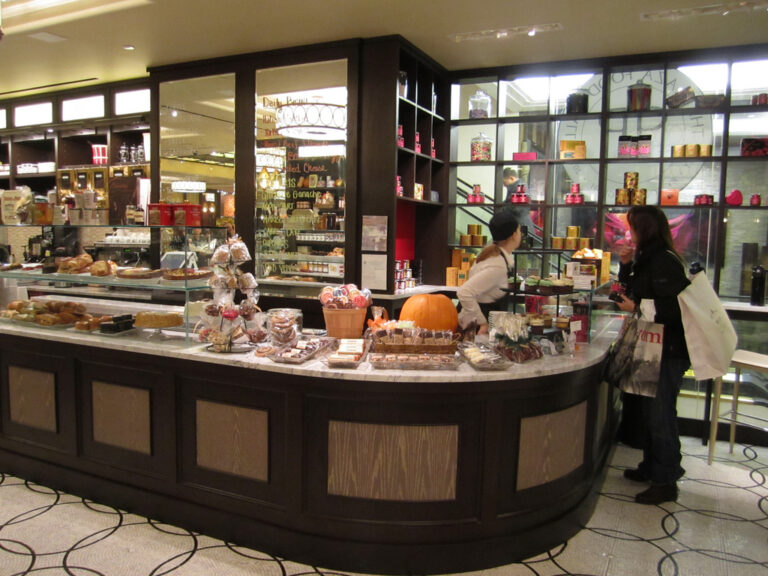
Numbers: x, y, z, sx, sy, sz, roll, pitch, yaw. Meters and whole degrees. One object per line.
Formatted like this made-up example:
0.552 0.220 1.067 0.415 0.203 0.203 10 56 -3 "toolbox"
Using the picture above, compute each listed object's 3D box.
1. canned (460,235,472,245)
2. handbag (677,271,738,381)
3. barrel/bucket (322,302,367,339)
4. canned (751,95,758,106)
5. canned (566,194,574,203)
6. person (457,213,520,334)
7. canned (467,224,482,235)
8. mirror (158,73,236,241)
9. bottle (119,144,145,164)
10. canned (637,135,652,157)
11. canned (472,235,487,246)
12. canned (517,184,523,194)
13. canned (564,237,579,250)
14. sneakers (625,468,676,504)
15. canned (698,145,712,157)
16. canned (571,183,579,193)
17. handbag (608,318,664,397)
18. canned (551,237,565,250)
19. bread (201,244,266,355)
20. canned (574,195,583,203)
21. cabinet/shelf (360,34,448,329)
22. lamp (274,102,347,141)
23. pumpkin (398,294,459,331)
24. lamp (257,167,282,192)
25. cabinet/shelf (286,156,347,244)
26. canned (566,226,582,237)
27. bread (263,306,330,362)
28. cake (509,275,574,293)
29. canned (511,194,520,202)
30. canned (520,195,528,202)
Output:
1.017 -0.608 7.636 0.125 0.122 0.120 7 11 32 "canned"
2.431 0.279 4.592 0.362 0.770 0.387 10 14 38 "handbag"
-0.300 0.239 4.482 0.260 0.167 0.251 1 2 0 "barrel/bucket"
3.801 -1.920 6.233 0.075 0.096 0.080 7 12 27 "canned"
2.130 -1.026 7.010 0.097 0.090 0.097 1 8 8 "canned"
0.836 -0.133 4.875 0.450 0.998 0.795 3 11 12 "person"
1.137 -0.744 7.669 0.144 0.104 0.145 9 13 42 "canned"
-2.243 -1.609 7.285 1.233 1.818 0.430 7 12 28 "mirror"
-3.415 -1.806 8.226 0.379 0.321 0.168 0 1 5 "bottle"
2.890 -1.566 6.711 0.178 0.236 0.123 0 11 -8 "canned"
1.193 -0.588 7.647 0.158 0.145 0.156 6 15 21 "canned"
1.602 -1.191 7.205 0.077 0.086 0.076 0 2 -2 "canned"
2.120 -0.510 6.916 0.139 0.133 0.139 2 7 18 "canned"
2.091 1.566 4.840 0.406 0.272 0.158 4 2 25 "sneakers"
3.393 -1.462 6.470 0.161 0.155 0.119 8 17 26 "canned"
2.260 -1.174 7.157 0.120 0.108 0.120 0 2 3 "canned"
1.948 0.509 4.711 0.344 0.561 0.249 5 12 21 "handbag"
2.043 -0.524 7.168 0.089 0.158 0.168 -8 8 -32 "canned"
-1.063 0.031 4.251 0.440 0.755 0.401 4 11 16 "bread"
2.225 -1.018 6.964 0.098 0.095 0.097 -7 12 -43 "canned"
0.234 -1.326 7.013 0.532 2.750 1.612 7 12 28 "cabinet/shelf"
-0.763 -1.847 6.709 0.761 0.184 0.758 3 5 -13 "lamp"
0.380 0.254 4.916 0.414 0.387 0.407 10 -14 -34 "pumpkin"
-1.280 -1.238 6.875 0.257 0.181 0.102 6 15 25 "lamp"
-0.773 -0.843 6.839 0.636 1.079 0.339 -1 -9 -4 "cabinet/shelf"
2.154 -0.647 6.946 0.123 0.120 0.123 1 7 5 "canned"
-0.585 0.311 4.194 0.454 0.264 0.576 -1 11 -9 "bread"
1.142 -0.019 4.434 0.450 0.110 0.281 5 12 18 "cake"
1.560 -1.049 7.250 0.127 0.121 0.070 0 -2 15 "canned"
1.658 -1.060 7.194 0.078 0.087 0.077 -3 6 -30 "canned"
